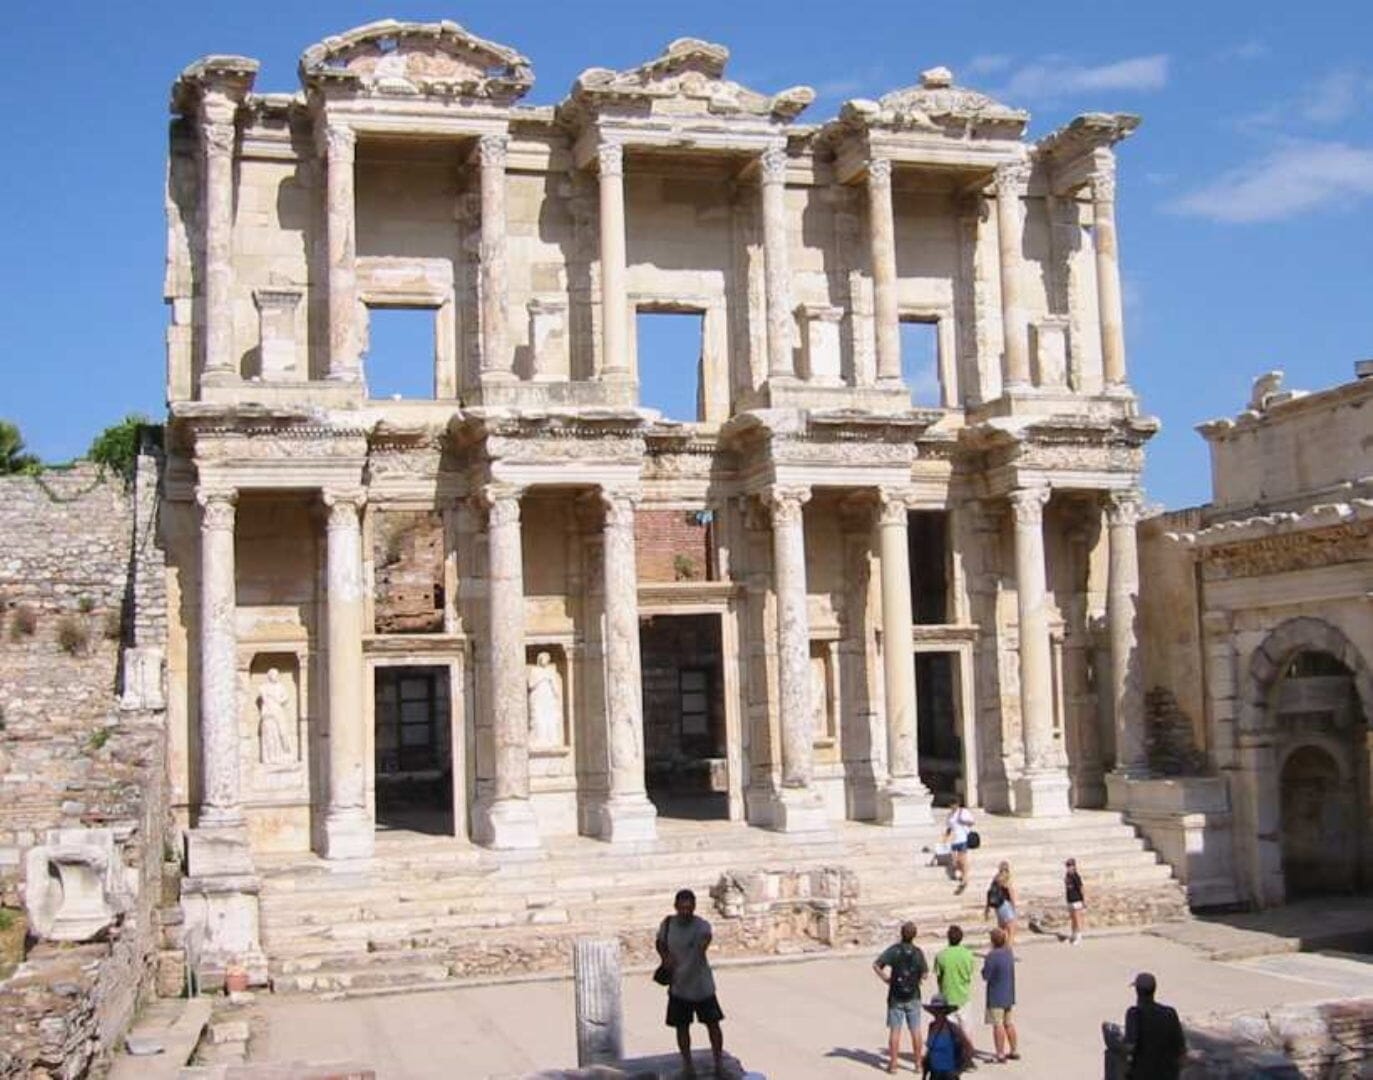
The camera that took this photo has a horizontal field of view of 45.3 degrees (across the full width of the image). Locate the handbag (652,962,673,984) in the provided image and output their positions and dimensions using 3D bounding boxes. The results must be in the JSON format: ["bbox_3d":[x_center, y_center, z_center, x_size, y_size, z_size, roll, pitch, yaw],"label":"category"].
[{"bbox_3d":[-0.215,4.330,16.418,0.161,0.207,0.318,-1,-8,-3],"label":"handbag"}]

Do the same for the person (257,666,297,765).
[{"bbox_3d":[-6.837,2.995,27.751,0.625,1.568,0.362,3,-9,-29],"label":"person"}]

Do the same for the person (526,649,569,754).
[{"bbox_3d":[-2.461,2.834,28.979,0.712,1.805,0.331,3,-9,-26],"label":"person"}]

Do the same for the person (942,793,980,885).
[{"bbox_3d":[4.451,4.792,26.227,0.484,1.323,0.414,6,10,45],"label":"person"}]

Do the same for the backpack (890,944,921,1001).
[{"bbox_3d":[2.409,4.676,17.824,0.381,0.641,0.433,-2,-8,6],"label":"backpack"}]

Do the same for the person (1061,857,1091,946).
[{"bbox_3d":[5.947,5.432,25.083,0.305,1.208,1.781,-3,-8,13],"label":"person"}]
